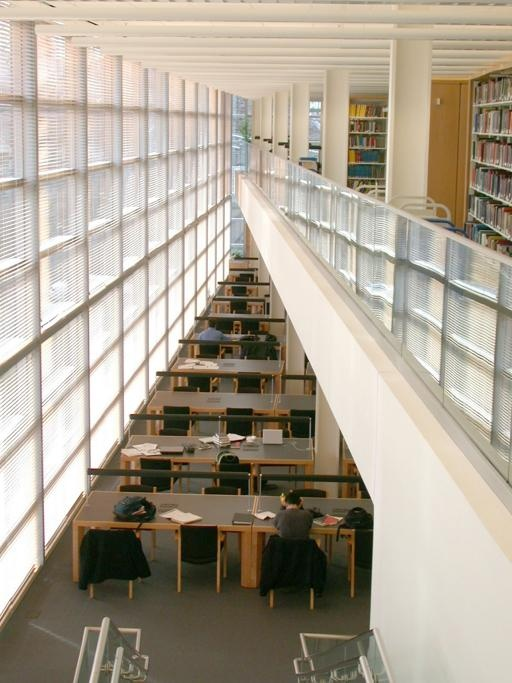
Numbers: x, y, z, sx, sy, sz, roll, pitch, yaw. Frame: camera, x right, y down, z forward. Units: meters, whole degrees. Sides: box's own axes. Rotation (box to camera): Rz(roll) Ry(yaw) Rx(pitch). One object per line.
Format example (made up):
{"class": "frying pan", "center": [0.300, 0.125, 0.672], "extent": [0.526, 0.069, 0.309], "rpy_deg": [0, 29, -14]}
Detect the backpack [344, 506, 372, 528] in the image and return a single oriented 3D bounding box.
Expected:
{"class": "backpack", "center": [1.260, 2.172, 6.434], "extent": [0.237, 0.078, 0.252], "rpy_deg": [-3, 18, 11]}

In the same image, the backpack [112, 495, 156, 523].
{"class": "backpack", "center": [-1.485, 2.083, 6.400], "extent": [0.295, 0.148, 0.363], "rpy_deg": [4, 6, -8]}

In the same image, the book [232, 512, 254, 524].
{"class": "book", "center": [-0.164, 2.210, 6.482], "extent": [0.266, 0.039, 0.284], "rpy_deg": [2, 5, 0]}
